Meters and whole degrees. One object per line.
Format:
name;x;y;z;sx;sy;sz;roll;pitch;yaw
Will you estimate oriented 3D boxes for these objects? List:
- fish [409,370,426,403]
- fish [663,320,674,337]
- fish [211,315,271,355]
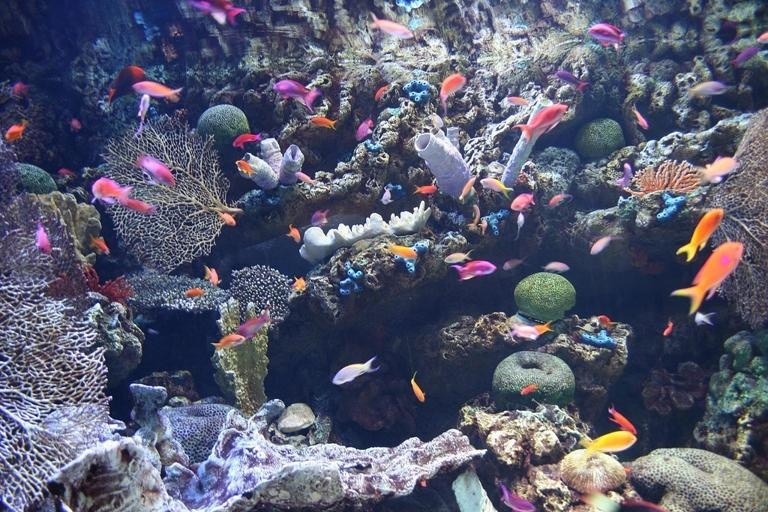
fish;0.577;2.220;12.248;0.219;0.556;0.114;-34;25;-24
fish;4.891;1.264;12.544;0.128;0.052;0.269;11;53;36
fish;-2.242;1.255;11.561;0.957;0.354;0.224;-31;13;-3
